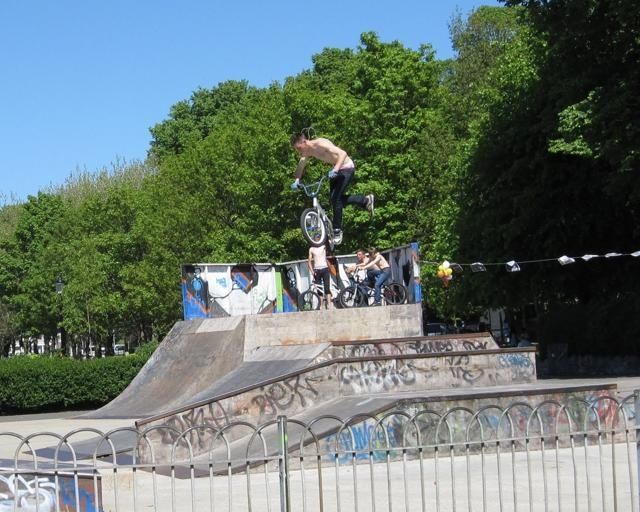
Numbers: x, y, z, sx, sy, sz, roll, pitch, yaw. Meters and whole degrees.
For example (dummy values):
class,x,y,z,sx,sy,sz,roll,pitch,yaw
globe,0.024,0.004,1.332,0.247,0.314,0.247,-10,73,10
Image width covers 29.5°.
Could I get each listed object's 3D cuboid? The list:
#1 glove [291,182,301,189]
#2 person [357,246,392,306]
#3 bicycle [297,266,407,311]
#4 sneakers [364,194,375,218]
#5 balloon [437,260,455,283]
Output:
class,x,y,z,sx,sy,sz,roll,pitch,yaw
glove,-0.704,-1.924,33.225,0.212,0.129,0.320,0,7,-13
person,1.623,0.544,35.222,0.828,1.690,0.782,-5,-5,4
bicycle,1.029,1.158,35.777,2.579,1.654,1.380,1,-10,2
sneakers,1.375,-1.352,34.689,0.211,0.769,0.300,0,23,17
balloon,3.829,0.424,37.154,0.393,0.619,0.865,-6,-6,7
